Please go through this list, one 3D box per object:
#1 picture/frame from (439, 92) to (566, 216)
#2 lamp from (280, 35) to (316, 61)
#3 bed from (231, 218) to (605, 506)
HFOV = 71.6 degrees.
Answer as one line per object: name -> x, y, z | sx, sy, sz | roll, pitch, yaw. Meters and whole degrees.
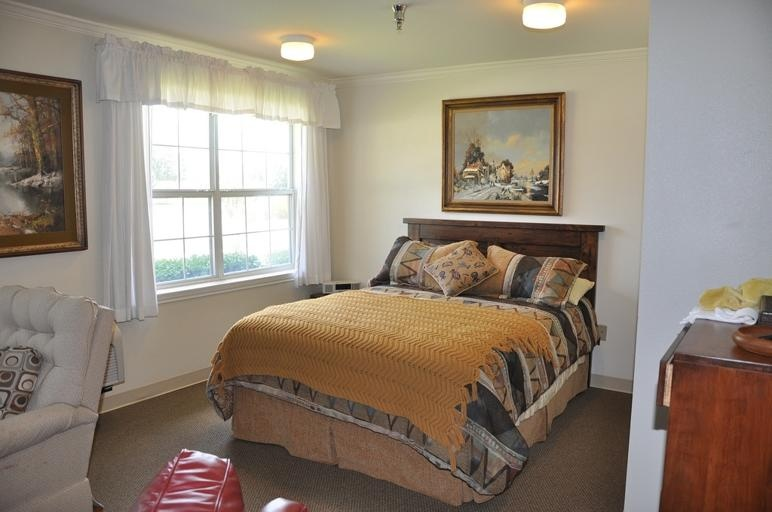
picture/frame -> 1.187, -1.014, 5.270 | 1.201, 1.249, 0.094 | 2, 5, 30
lamp -> -0.757, -1.776, 4.610 | 0.286, 0.173, 0.233 | -2, 14, -10
bed -> 0.599, 0.871, 4.361 | 2.252, 1.462, 2.295 | 4, 9, 34
